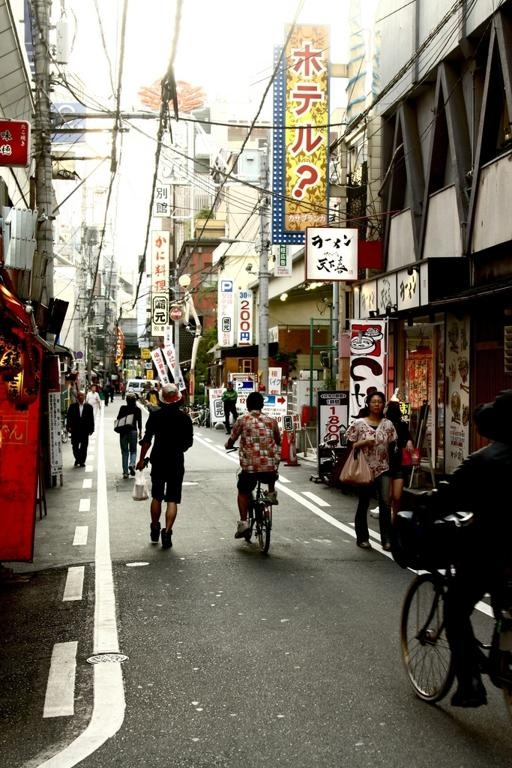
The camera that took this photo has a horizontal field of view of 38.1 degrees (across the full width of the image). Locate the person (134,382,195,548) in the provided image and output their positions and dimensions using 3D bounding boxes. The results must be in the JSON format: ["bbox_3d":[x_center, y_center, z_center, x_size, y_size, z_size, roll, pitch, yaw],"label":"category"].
[{"bbox_3d":[-1.140,0.981,9.139,0.642,1.933,1.020,0,-2,-11],"label":"person"}]

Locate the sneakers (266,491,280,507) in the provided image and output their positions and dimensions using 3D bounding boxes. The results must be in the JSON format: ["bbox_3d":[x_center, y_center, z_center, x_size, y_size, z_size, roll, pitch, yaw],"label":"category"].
[{"bbox_3d":[0.176,1.376,8.904,0.167,0.101,0.263,0,-7,-4],"label":"sneakers"}]

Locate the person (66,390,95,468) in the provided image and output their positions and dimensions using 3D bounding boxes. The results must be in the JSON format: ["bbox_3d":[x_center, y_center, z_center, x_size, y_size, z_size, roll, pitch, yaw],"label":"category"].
[{"bbox_3d":[-4.721,1.216,19.961,0.664,2.254,0.509,-2,26,-18],"label":"person"}]

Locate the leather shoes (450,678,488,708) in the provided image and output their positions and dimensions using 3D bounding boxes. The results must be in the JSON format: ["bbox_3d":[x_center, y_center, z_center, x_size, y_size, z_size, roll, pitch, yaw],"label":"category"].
[{"bbox_3d":[0.958,1.398,3.370,0.133,0.162,0.113,0,-2,-13],"label":"leather shoes"}]

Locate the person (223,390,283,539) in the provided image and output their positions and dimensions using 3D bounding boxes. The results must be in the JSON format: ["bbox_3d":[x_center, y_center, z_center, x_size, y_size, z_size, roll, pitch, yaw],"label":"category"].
[{"bbox_3d":[-0.039,0.998,9.054,0.645,1.808,0.642,-1,-2,0],"label":"person"}]

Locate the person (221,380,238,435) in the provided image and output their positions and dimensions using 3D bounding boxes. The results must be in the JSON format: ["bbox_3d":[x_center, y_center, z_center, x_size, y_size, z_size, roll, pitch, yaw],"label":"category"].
[{"bbox_3d":[-1.112,0.859,31.076,0.512,2.004,0.540,-1,20,-3],"label":"person"}]

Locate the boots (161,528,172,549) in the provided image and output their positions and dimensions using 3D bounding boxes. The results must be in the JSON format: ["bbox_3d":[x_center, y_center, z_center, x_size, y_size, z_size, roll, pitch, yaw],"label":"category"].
[{"bbox_3d":[-1.041,1.818,8.770,0.094,0.245,0.216,3,6,3],"label":"boots"}]

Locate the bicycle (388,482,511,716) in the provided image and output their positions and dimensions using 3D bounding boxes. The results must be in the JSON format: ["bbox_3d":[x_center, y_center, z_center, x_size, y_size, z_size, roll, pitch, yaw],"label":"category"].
[{"bbox_3d":[0.917,1.065,3.661,0.459,0.811,1.172,4,-2,-11],"label":"bicycle"}]

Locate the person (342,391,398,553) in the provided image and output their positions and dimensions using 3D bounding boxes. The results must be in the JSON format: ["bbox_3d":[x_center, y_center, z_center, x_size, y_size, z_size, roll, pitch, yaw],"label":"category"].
[{"bbox_3d":[1.306,1.014,8.665,0.613,1.838,0.877,-1,-2,16],"label":"person"}]

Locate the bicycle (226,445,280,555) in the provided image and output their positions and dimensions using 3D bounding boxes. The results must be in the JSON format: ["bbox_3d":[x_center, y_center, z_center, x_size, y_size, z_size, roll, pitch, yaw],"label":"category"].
[{"bbox_3d":[-0.045,1.575,8.865,0.470,0.758,1.107,2,8,-10],"label":"bicycle"}]

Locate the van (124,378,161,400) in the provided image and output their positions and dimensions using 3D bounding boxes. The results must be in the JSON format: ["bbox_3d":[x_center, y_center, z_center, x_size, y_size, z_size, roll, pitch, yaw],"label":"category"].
[{"bbox_3d":[-7.936,0.339,51.856,2.541,1.686,1.766,0,2,17],"label":"van"}]

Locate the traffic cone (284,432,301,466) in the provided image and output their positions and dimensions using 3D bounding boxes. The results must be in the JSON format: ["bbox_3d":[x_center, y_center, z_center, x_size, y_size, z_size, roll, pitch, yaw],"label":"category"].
[{"bbox_3d":[0.906,1.742,20.056,0.396,0.931,0.805,-1,-2,2],"label":"traffic cone"}]

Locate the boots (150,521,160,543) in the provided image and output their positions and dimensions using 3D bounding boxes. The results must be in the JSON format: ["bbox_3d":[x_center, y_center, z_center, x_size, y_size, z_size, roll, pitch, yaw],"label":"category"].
[{"bbox_3d":[-1.248,1.832,9.147,0.093,0.309,0.255,-1,-2,0],"label":"boots"}]

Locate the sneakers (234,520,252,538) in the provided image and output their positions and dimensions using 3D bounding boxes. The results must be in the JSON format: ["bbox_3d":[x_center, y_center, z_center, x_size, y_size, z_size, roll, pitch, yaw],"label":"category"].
[{"bbox_3d":[-0.184,1.803,9.131,0.115,0.121,0.272,-3,-38,-19],"label":"sneakers"}]
